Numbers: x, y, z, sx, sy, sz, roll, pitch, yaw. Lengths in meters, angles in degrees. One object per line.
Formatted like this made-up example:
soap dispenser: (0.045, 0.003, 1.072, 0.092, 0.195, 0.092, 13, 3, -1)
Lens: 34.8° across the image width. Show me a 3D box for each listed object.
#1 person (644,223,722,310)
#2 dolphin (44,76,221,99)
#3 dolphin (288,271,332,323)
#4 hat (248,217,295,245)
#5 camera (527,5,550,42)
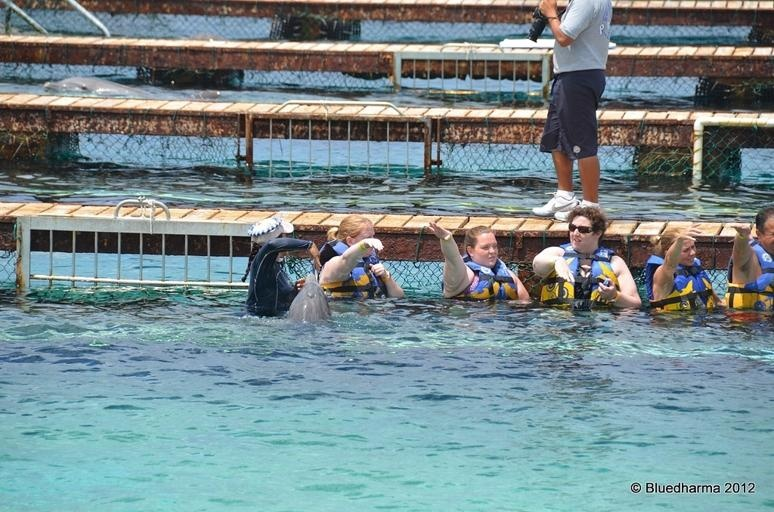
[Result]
person: (3.437, 0.210, 14.477, 0.655, 1.080, 0.983, -4, -1, 5)
dolphin: (-4.766, -3.130, 23.132, 3.862, 0.397, 0.945, 2, 9, -7)
dolphin: (-0.887, 0.490, 14.351, 0.618, 0.535, 0.535, -1, 19, 5)
hat: (-1.332, -0.289, 14.192, 0.462, 0.130, 0.333, -18, 28, -22)
camera: (1.855, -2.877, 15.348, 0.178, 0.393, 0.327, 28, 9, -5)
